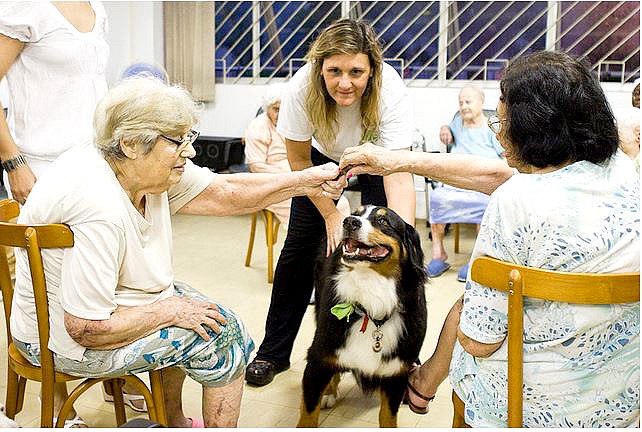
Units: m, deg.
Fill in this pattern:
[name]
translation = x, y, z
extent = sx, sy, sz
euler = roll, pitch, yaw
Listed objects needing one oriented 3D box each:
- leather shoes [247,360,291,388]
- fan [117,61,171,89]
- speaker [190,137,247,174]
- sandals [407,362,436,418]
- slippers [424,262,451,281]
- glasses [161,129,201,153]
[leather shoes]
translation = -0.306, 0.890, 3.451
extent = 0.090, 0.116, 0.274
euler = 0, -5, 22
[fan]
translation = -0.761, -0.606, 2.595
extent = 0.193, 0.105, 0.429
euler = -2, 9, -17
[speaker]
translation = -1.122, -0.645, 7.315
extent = 0.701, 0.534, 1.015
euler = 2, 11, -2
[sandals]
translation = 0.475, 0.848, 2.851
extent = 0.101, 0.126, 0.320
euler = 0, -27, 9
[slippers]
translation = 0.982, 0.449, 5.033
extent = 0.193, 0.160, 0.519
euler = 0, 3, 20
[glasses]
translation = -0.588, -0.285, 2.460
extent = 0.096, 0.030, 0.097
euler = 18, 21, 27
